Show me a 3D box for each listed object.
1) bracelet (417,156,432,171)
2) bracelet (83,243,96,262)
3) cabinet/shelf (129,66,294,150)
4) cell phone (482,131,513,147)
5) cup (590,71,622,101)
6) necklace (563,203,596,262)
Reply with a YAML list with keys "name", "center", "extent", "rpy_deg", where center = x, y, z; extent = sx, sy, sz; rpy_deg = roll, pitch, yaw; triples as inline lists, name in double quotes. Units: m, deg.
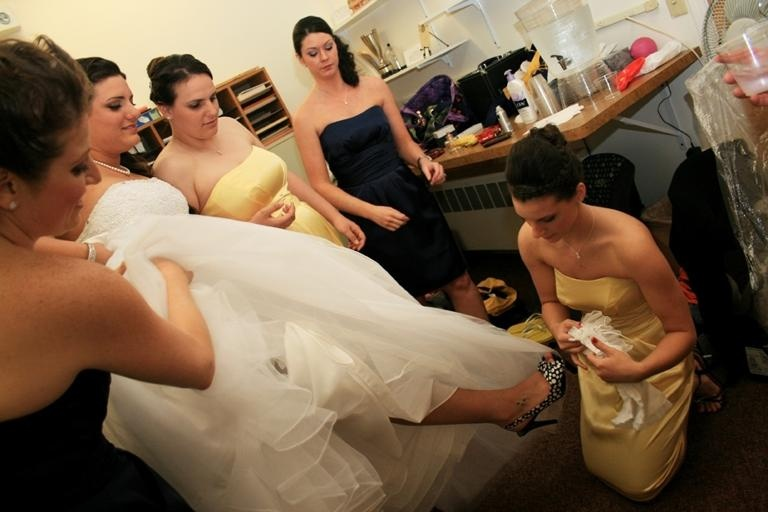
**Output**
- name: "bracelet"
  center: [0.242, -0.553, 3.083]
  extent: [0.080, 0.063, 0.081]
  rpy_deg: [-19, 19, -34]
- name: "bracelet"
  center: [-1.027, -0.010, 1.832]
  extent: [0.049, 0.057, 0.048]
  rpy_deg: [-4, 13, -26]
- name: "cabinet/shelf"
  center: [-1.219, -1.187, 4.521]
  extent: [0.690, 0.600, 0.233]
  rpy_deg: [-36, 20, -21]
- name: "cell phone"
  center: [0.646, -0.670, 3.025]
  extent: [0.137, 0.038, 0.085]
  rpy_deg: [-12, 20, 40]
- name: "cup"
  center: [1.182, -0.912, 2.839]
  extent: [0.150, 0.130, 0.161]
  rpy_deg: [-13, 12, 3]
- name: "necklace"
  center: [0.723, -0.068, 1.965]
  extent: [0.103, 0.157, 0.035]
  rpy_deg: [-2, 10, 43]
